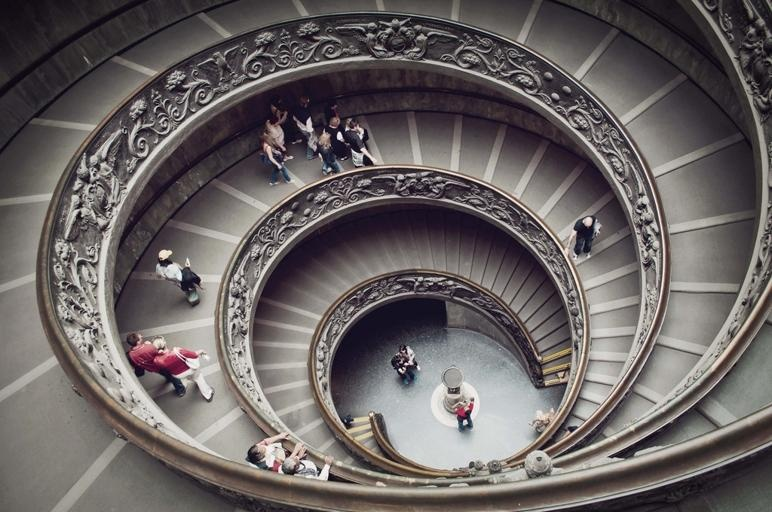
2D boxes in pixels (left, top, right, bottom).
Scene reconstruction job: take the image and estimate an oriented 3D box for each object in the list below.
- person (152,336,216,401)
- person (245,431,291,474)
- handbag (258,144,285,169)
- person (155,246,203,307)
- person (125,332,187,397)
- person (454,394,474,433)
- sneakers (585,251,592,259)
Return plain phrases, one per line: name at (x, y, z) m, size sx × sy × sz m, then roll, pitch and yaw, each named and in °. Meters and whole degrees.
person at (-4.448, 2.377, 11.952) m, size 1.004 × 0.632 × 2.178 m, roll -6°, pitch -41°, yaw 3°
person at (-2.092, 3.536, 9.888) m, size 0.393 × 1.000 × 0.498 m, roll -27°, pitch -95°, yaw 6°
handbag at (-3.247, -2.804, 15.736) m, size 0.333 × 0.771 × 0.553 m, roll -43°, pitch -110°, yaw 18°
person at (-5.018, 0.528, 13.521) m, size 0.726 × 0.455 × 1.635 m, roll -20°, pitch -60°, yaw 11°
person at (-4.887, 2.277, 11.669) m, size 0.934 × 0.485 × 1.447 m, roll -9°, pitch -58°, yaw 4°
person at (2.423, 4.759, 16.765) m, size 0.696 × 0.559 × 1.351 m, roll -28°, pitch -48°, yaw -26°
sneakers at (5.296, 0.007, 14.439) m, size 0.119 × 0.163 × 0.172 m, roll 0°, pitch -84°, yaw 7°
